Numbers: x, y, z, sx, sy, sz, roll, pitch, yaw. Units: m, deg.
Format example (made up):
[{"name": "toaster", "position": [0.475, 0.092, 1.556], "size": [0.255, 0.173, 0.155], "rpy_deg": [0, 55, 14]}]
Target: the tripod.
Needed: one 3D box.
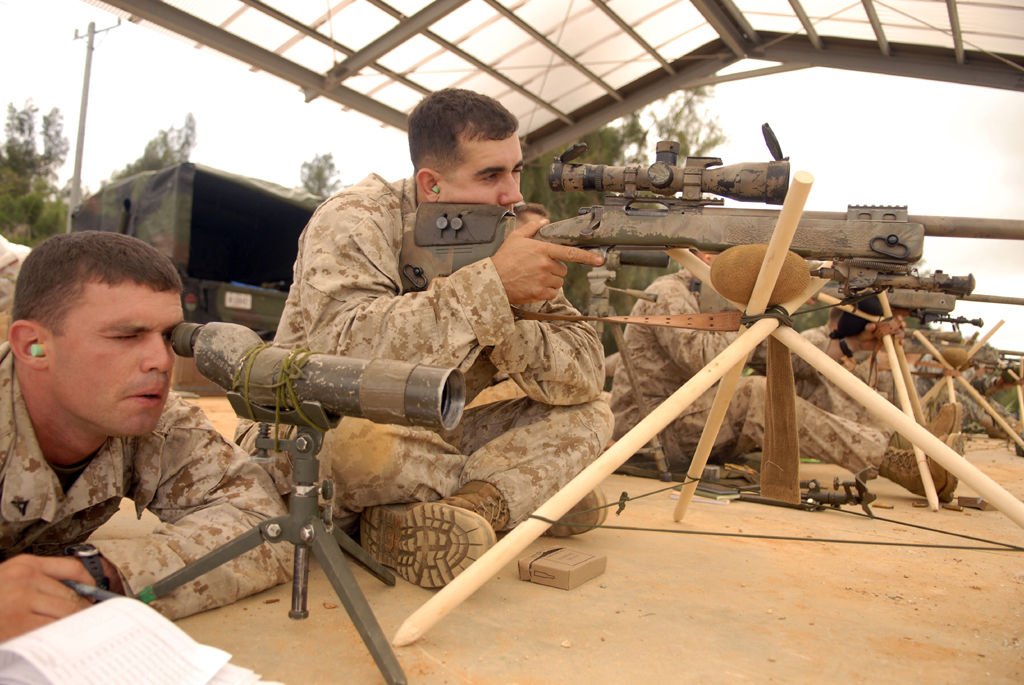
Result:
[{"name": "tripod", "position": [-0.673, 0.612, 2.962], "size": [0.804, 0.875, 0.928], "rpy_deg": [5, 3, 27]}]

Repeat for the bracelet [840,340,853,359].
[{"name": "bracelet", "position": [2.508, 0.044, 6.217], "size": [0.065, 0.137, 0.099], "rpy_deg": [-38, 34, 2]}]

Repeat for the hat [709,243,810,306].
[{"name": "hat", "position": [0.931, -0.255, 3.111], "size": [0.390, 0.235, 0.230], "rpy_deg": [2, 6, 5]}]

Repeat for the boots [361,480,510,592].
[{"name": "boots", "position": [-0.295, 0.740, 3.277], "size": [0.528, 0.296, 0.221], "rpy_deg": [6, 7, 33]}]

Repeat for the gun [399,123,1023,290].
[{"name": "gun", "position": [0.659, -0.527, 3.290], "size": [2.371, 0.684, 0.643], "rpy_deg": [4, 7, 26]}]
